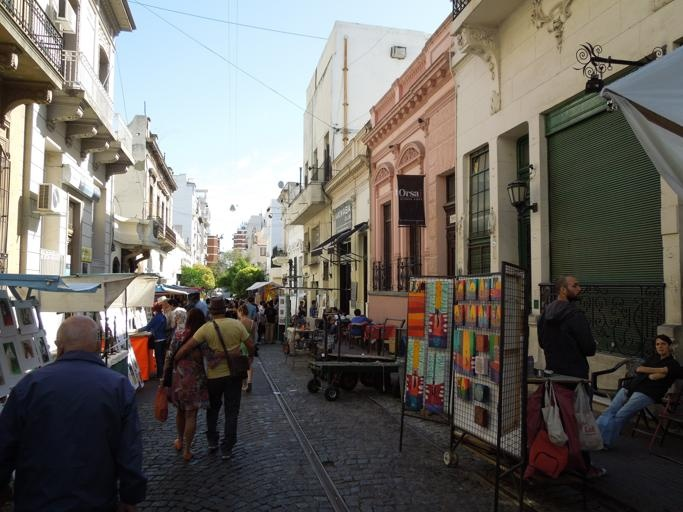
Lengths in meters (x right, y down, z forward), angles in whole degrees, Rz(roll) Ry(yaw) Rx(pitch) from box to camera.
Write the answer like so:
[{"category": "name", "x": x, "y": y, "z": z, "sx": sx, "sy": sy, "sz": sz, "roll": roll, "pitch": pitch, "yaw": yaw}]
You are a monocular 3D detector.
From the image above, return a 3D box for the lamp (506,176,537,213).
[{"category": "lamp", "x": 3.969, "y": -1.307, "z": 12.712, "sx": 0.628, "sy": 1.009, "sz": 0.574, "roll": 2, "pitch": -6, "yaw": 3}]

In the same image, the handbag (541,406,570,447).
[{"category": "handbag", "x": 2.522, "y": 2.024, "z": 6.733, "sx": 0.242, "sy": 0.583, "sz": 0.173, "roll": -15, "pitch": -16, "yaw": 18}]

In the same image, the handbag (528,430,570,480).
[{"category": "handbag", "x": 2.437, "y": 2.302, "z": 6.714, "sx": 0.364, "sy": 0.606, "sz": 0.333, "roll": 10, "pitch": -17, "yaw": 16}]

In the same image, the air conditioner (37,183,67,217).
[{"category": "air conditioner", "x": -7.518, "y": -1.448, "z": 14.610, "sx": 0.440, "sy": 0.750, "sz": 0.922, "roll": -1, "pitch": -1, "yaw": -4}]

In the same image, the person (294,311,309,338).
[{"category": "person", "x": -1.640, "y": 2.691, "z": 22.840, "sx": 0.411, "sy": 0.710, "sz": 1.162, "roll": 0, "pitch": -5, "yaw": -6}]

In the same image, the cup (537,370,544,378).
[{"category": "cup", "x": 2.616, "y": 1.539, "z": 7.503, "sx": 0.093, "sy": 0.112, "sz": 0.052, "roll": 5, "pitch": -13, "yaw": -22}]

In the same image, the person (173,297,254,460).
[{"category": "person", "x": -1.914, "y": 1.727, "z": 8.576, "sx": 1.031, "sy": 2.340, "sz": 0.845, "roll": 1, "pitch": 9, "yaw": -5}]

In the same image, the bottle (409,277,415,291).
[{"category": "bottle", "x": 1.091, "y": 0.432, "z": 8.870, "sx": 0.062, "sy": 0.205, "sz": 0.179, "roll": 0, "pitch": -1, "yaw": -25}]

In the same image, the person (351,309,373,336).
[{"category": "person", "x": 0.655, "y": 2.327, "z": 19.544, "sx": 0.521, "sy": 0.788, "sz": 0.829, "roll": 1, "pitch": -12, "yaw": -4}]

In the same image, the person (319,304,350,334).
[{"category": "person", "x": -0.335, "y": 2.162, "z": 19.168, "sx": 0.959, "sy": 0.540, "sz": 1.361, "roll": 3, "pitch": -1, "yaw": 7}]

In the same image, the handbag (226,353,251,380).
[{"category": "handbag", "x": -1.506, "y": 1.576, "z": 8.313, "sx": 0.428, "sy": 0.509, "sz": 0.266, "roll": 6, "pitch": -19, "yaw": -34}]

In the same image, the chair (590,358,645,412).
[{"category": "chair", "x": 4.463, "y": 2.215, "z": 9.604, "sx": 0.852, "sy": 0.842, "sz": 0.900, "roll": 8, "pitch": -7, "yaw": -26}]

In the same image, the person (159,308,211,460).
[{"category": "person", "x": -2.274, "y": 1.827, "z": 8.323, "sx": 0.684, "sy": 2.110, "sz": 0.509, "roll": -1, "pitch": -1, "yaw": 36}]

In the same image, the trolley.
[{"category": "trolley", "x": 0.320, "y": 2.574, "z": 13.439, "sx": 2.124, "sy": 2.126, "sz": 1.622, "roll": 1, "pitch": -1, "yaw": -21}]

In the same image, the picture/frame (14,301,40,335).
[{"category": "picture/frame", "x": -4.787, "y": 0.939, "z": 8.596, "sx": 0.061, "sy": 0.663, "sz": 0.519, "roll": -12, "pitch": -2, "yaw": 8}]
